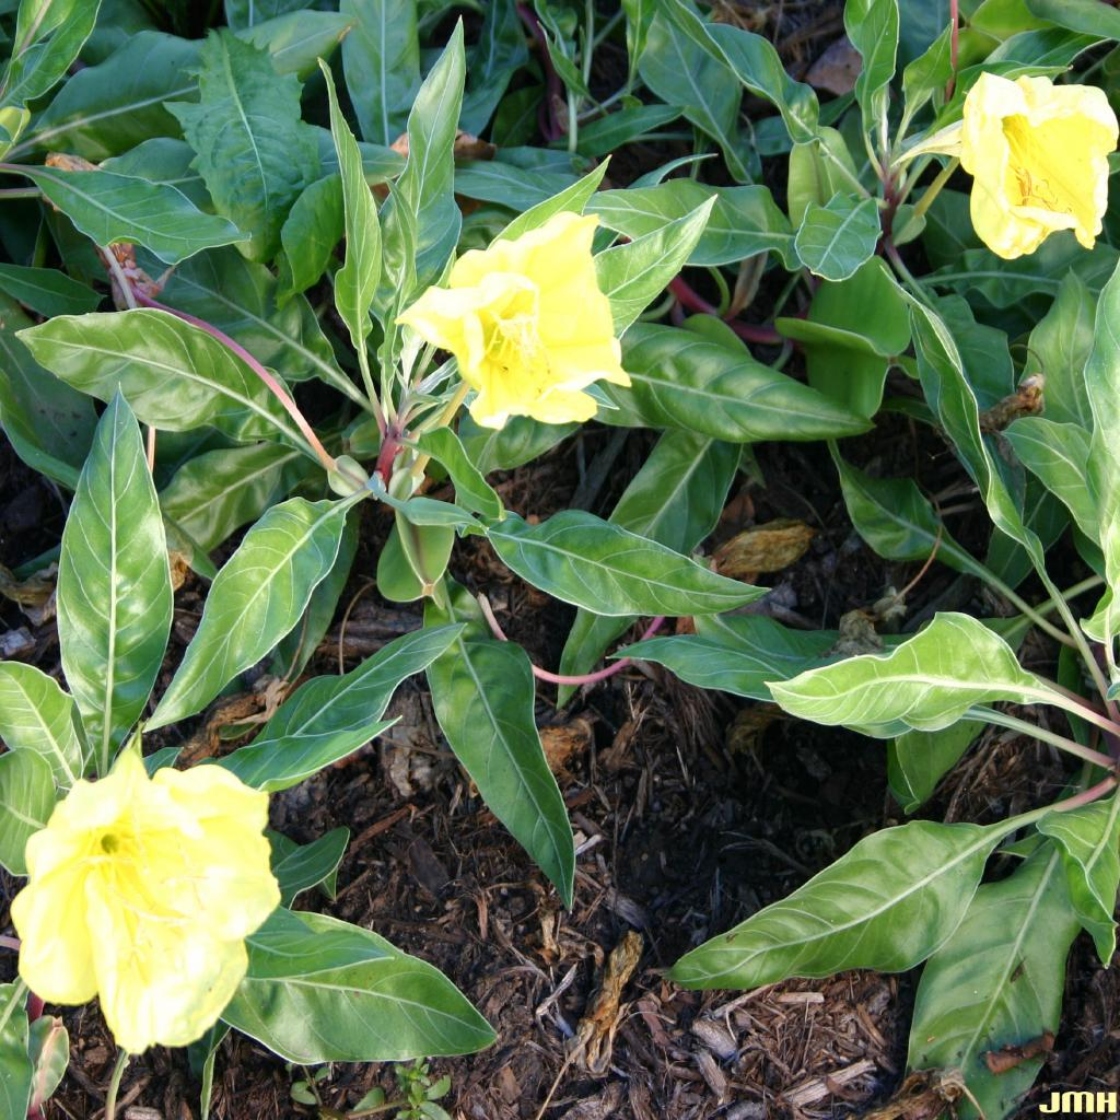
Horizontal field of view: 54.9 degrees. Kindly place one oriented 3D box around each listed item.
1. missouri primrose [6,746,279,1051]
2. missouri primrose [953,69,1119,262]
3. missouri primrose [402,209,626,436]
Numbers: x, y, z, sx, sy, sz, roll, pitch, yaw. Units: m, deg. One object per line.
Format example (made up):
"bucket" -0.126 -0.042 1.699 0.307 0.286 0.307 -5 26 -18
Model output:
"missouri primrose" -0.443 0.347 1.200 0.152 0.291 0.297 23 68 28
"missouri primrose" 0.737 -0.600 1.664 0.219 0.242 0.185 -18 55 6
"missouri primrose" -0.027 -0.263 1.355 0.122 0.301 0.365 27 37 19
